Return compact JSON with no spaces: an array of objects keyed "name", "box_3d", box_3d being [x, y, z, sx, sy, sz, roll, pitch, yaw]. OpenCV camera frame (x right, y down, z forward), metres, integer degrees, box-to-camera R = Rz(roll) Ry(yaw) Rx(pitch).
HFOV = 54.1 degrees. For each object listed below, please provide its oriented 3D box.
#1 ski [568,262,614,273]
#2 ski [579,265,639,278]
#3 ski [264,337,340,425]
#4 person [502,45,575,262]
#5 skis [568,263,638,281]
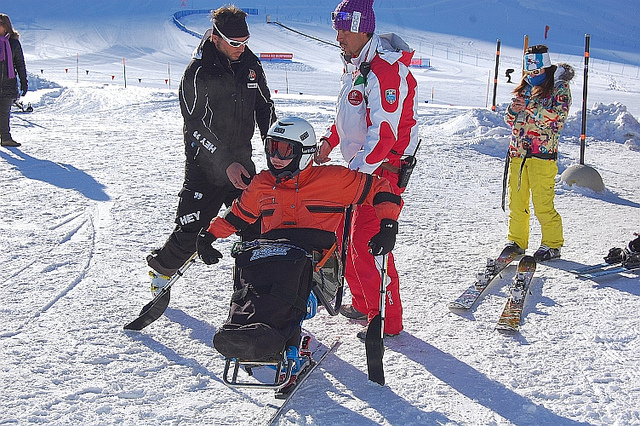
[{"name":"ski","box_3d":[3.245,0.660,7.527,0.606,0.044,0.171,-11,20,-29]},{"name":"ski","box_3d":[3.448,0.694,7.437,0.808,0.104,0.128,-2,19,-15]},{"name":"ski","box_3d":[-0.109,1.562,5.727,0.260,0.116,1.033,-21,18,41]},{"name":"person","box_3d":[2.778,-0.774,7.967,0.835,2.580,1.143,5,18,6]},{"name":"skis","box_3d":[3.353,0.685,7.454,0.904,0.069,0.252,-7,33,-23]}]
